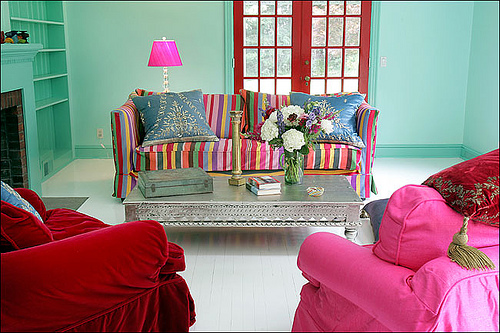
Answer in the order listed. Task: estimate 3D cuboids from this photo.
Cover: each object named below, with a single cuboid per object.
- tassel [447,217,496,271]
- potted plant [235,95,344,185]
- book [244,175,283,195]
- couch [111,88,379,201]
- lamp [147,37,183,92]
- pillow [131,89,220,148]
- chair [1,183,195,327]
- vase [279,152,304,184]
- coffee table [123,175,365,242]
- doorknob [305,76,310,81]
[{"bbox_3d":[0.833,0.287,1.296,0.172,0.203,0.061,-4,12,-4],"label":"tassel"},{"bbox_3d":[0.347,-0.219,3.081,0.746,0.683,0.892,4,12,35],"label":"potted plant"},{"bbox_3d":[0.115,0.143,2.928,0.318,0.118,0.258,-3,11,0],"label":"book"},{"bbox_3d":[-0.030,-0.328,4.176,2.837,1.163,1.007,0,17,-3],"label":"couch"},{"bbox_3d":[-1.196,-1.397,4.779,0.489,0.800,0.498,-1,17,-24],"label":"lamp"},{"bbox_3d":[-0.882,-0.600,4.043,0.871,0.772,0.262,-7,-31,-23],"label":"pillow"},{"bbox_3d":[-0.857,0.474,1.950,0.825,0.663,1.089,-3,10,-36],"label":"chair"},{"bbox_3d":[0.374,0.003,3.085,0.220,0.347,0.314,-1,-10,4],"label":"vase"},{"bbox_3d":[-0.033,0.067,3.585,2.305,0.507,0.913,1,12,-7],"label":"coffee table"},{"bbox_3d":[0.906,-1.409,5.488,0.077,0.075,0.023,3,3,1],"label":"doorknob"}]
